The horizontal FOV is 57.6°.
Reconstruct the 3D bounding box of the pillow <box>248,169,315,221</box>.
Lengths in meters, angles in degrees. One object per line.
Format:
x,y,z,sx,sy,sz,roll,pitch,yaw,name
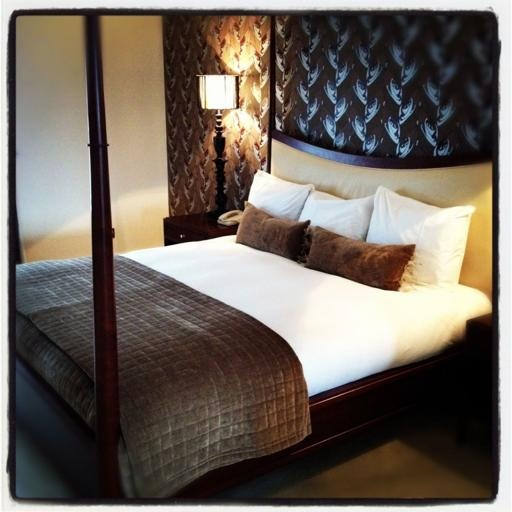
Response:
0.185,-0.428,3.220,0.127,0.332,0.469,24,3,-37,pillow

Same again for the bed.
-0.128,0.297,2.175,1.539,1.333,1.740,-8,17,-29,bed

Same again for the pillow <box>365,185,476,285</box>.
0.854,-0.110,2.377,0.123,0.500,0.423,9,4,-36,pillow
